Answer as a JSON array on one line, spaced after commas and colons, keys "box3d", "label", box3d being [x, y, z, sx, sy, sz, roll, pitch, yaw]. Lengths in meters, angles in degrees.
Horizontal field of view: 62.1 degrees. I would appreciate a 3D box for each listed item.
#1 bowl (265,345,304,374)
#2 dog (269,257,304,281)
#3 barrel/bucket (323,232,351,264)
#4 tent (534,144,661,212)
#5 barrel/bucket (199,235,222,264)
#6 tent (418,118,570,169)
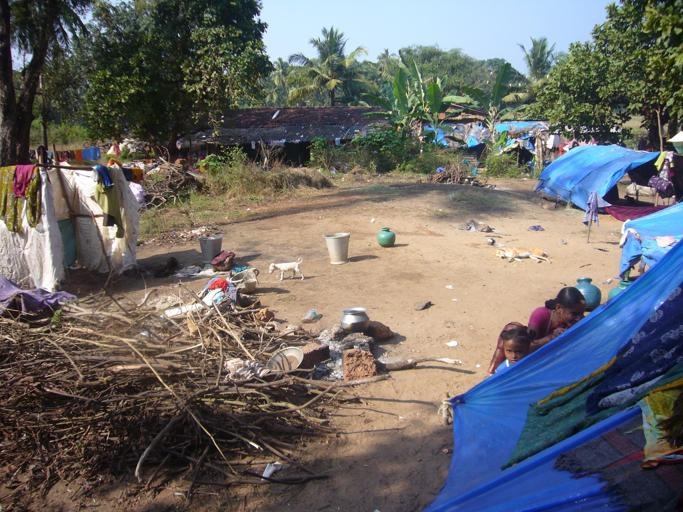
[{"box3d": [-0.678, 1.300, 7.072, 0.291, 0.249, 0.508, 7, 16, 23], "label": "bowl"}, {"box3d": [-1.099, 0.173, 11.519, 0.684, 0.395, 1.229, -1, 15, -5], "label": "dog"}, {"box3d": [-0.072, -0.198, 12.296, 0.483, 0.645, 0.507, 0, 16, 0], "label": "barrel/bucket"}, {"box3d": [6.457, -1.971, 14.906, 1.951, 0.747, 2.653, -15, 10, -15], "label": "tent"}, {"box3d": [-2.783, -0.134, 12.226, 0.397, 0.504, 0.665, -2, 16, -9], "label": "barrel/bucket"}, {"box3d": [8.684, -6.671, 32.510, 6.360, 2.149, 7.131, 5, 15, 17], "label": "tent"}]
